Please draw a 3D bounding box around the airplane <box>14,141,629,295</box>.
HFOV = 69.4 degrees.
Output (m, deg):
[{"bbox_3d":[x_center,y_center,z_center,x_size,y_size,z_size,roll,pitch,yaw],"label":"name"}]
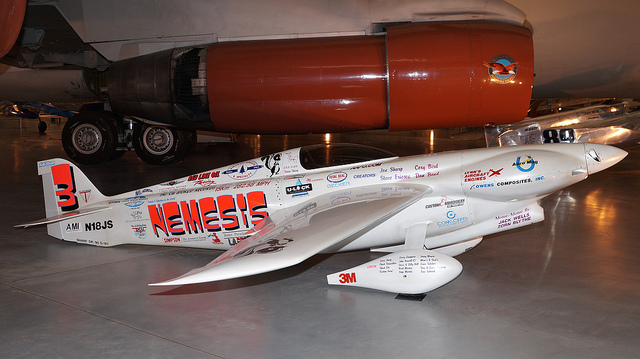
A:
[{"bbox_3d":[-0.011,0.434,8.410,10.780,2.043,3.390,-4,7,-6],"label":"airplane"}]
